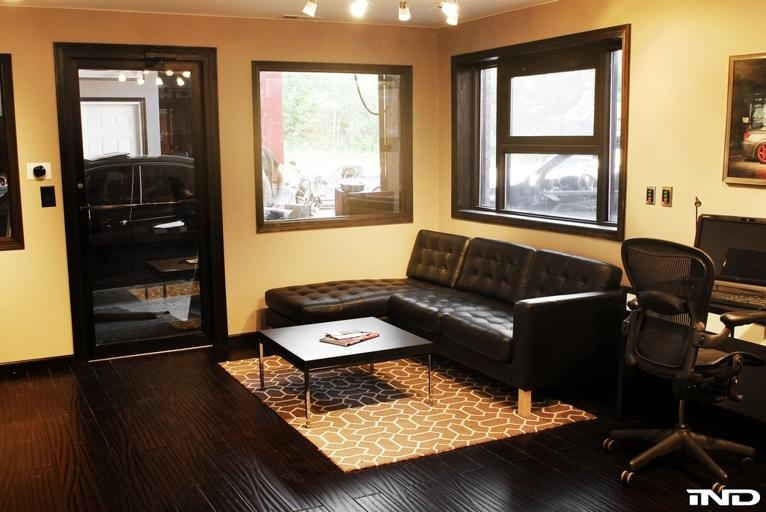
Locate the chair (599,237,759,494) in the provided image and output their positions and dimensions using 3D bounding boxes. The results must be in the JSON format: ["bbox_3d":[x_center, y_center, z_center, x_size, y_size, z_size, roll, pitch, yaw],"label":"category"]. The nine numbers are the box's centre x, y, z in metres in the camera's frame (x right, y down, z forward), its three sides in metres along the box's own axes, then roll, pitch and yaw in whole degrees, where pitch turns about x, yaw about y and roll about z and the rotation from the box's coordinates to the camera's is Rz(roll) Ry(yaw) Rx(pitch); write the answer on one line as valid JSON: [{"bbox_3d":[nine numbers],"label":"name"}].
[{"bbox_3d":[1.918,0.648,3.560,0.890,1.505,0.596,4,15,21],"label":"chair"}]

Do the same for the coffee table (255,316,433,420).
[{"bbox_3d":[-0.245,0.775,4.603,0.991,0.402,0.919,-3,8,-27],"label":"coffee table"}]
